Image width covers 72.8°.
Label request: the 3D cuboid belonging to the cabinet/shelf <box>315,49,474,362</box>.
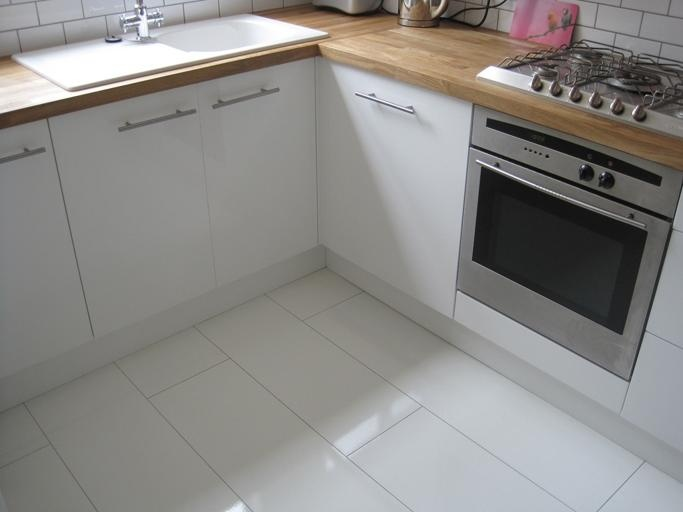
[{"bbox_3d":[0.245,-0.237,2.040,0.796,1.112,0.663,31,46,33],"label":"cabinet/shelf"}]

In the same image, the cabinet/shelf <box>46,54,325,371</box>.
[{"bbox_3d":[-0.757,-0.297,2.247,0.537,1.204,1.395,32,49,33],"label":"cabinet/shelf"}]

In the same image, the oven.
[{"bbox_3d":[0.778,-0.072,1.563,0.486,0.746,0.638,-35,54,-30],"label":"oven"}]
